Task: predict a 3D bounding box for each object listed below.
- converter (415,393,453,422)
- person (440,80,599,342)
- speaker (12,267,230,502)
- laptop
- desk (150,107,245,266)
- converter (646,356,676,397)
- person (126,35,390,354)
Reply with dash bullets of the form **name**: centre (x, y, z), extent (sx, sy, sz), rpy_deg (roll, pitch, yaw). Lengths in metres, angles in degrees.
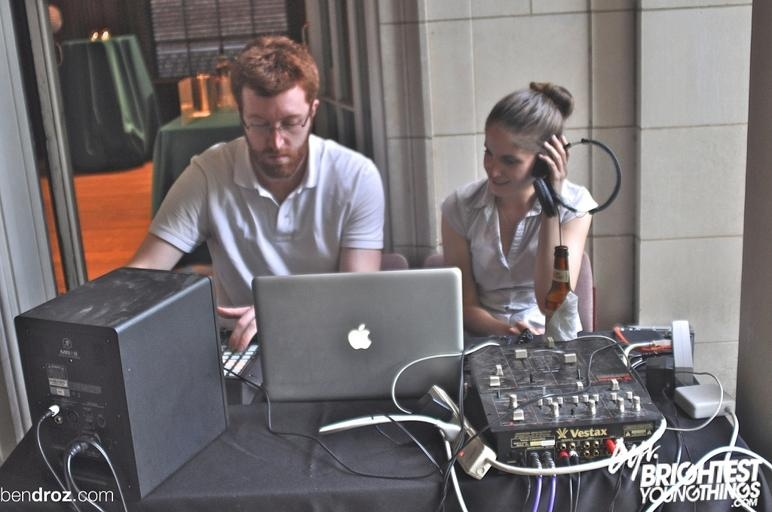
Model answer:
- **converter**: centre (0.148, 0.471, 2.142), extent (0.078, 0.080, 0.054), rpy_deg (28, -3, 11)
- **person**: centre (0.609, -0.208, 3.192), extent (0.883, 1.345, 0.898), rpy_deg (0, 4, 25)
- **speaker**: centre (-0.712, 0.321, 2.213), extent (0.471, 0.723, 0.651), rpy_deg (6, 21, 25)
- **laptop**: centre (-0.081, 0.257, 2.206), extent (0.816, 0.365, 0.280), rpy_deg (1, 18, -1)
- **desk**: centre (-0.907, -0.410, 3.695), extent (0.601, 0.602, 0.620), rpy_deg (-2, 7, -6)
- **converter**: centre (0.901, 0.398, 2.254), extent (0.083, 0.142, 0.099), rpy_deg (-8, 3, 15)
- **person**: centre (-0.499, -0.310, 3.525), extent (1.306, 1.952, 1.187), rpy_deg (4, 13, 0)
